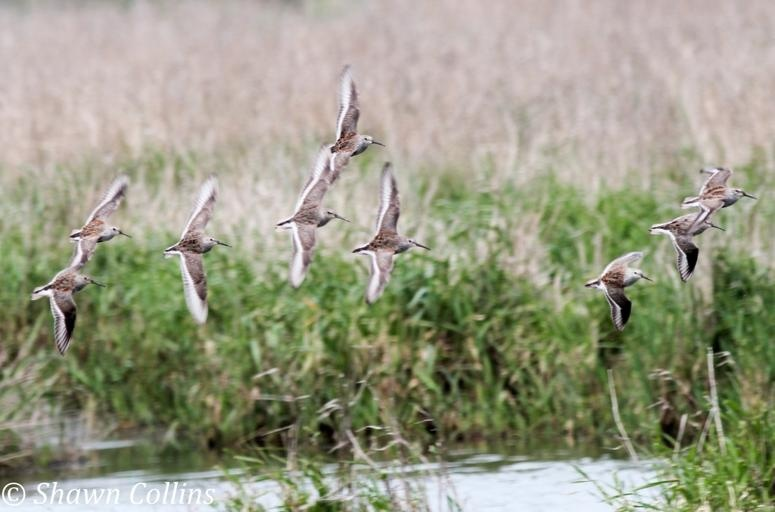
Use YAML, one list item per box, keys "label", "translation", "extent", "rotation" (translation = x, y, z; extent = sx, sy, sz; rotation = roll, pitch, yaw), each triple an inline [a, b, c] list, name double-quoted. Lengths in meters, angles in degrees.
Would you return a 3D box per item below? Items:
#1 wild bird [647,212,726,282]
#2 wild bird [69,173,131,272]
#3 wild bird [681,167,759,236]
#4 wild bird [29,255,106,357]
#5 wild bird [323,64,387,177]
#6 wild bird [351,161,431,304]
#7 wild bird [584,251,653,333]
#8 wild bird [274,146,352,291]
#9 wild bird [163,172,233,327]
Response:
- label: "wild bird"
  translation: [1.821, -0.047, 5.835]
  extent: [0.294, 0.465, 0.251]
  rotation: [-20, 23, -37]
- label: "wild bird"
  translation: [-1.847, -0.136, 6.016]
  extent: [0.337, 0.151, 0.657]
  rotation: [6, -22, -8]
- label: "wild bird"
  translation: [1.987, -0.359, 5.750]
  extent: [0.411, 0.159, 0.527]
  rotation: [10, 42, 4]
- label: "wild bird"
  translation: [-2.032, 0.327, 5.922]
  extent: [0.252, 0.600, 0.353]
  rotation: [8, 22, 36]
- label: "wild bird"
  translation: [-0.236, -0.840, 5.931]
  extent: [0.298, 0.682, 0.317]
  rotation: [-6, 18, 0]
- label: "wild bird"
  translation: [-0.018, -0.139, 5.955]
  extent: [0.475, 0.844, 0.403]
  rotation: [-12, 19, -18]
- label: "wild bird"
  translation: [1.427, 0.218, 5.790]
  extent: [0.321, 0.501, 0.211]
  rotation: [-14, 20, -24]
- label: "wild bird"
  translation: [-0.496, -0.230, 5.963]
  extent: [0.506, 0.882, 0.313]
  rotation: [-17, 21, -31]
- label: "wild bird"
  translation: [-1.210, -0.005, 5.965]
  extent: [0.338, 0.952, 0.520]
  rotation: [1, 19, 22]
